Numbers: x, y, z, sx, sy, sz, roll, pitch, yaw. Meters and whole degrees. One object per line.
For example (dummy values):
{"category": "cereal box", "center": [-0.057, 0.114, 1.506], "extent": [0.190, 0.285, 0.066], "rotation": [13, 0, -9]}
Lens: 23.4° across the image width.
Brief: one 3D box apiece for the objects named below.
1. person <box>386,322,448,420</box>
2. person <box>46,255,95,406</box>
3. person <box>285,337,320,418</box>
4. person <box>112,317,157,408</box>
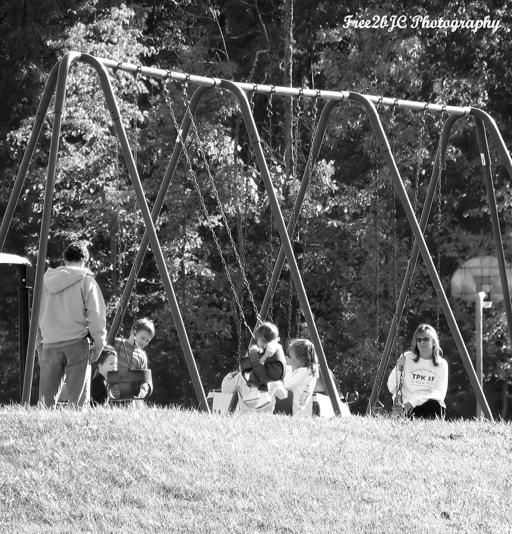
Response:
{"category": "person", "center": [1.590, 1.087, 11.997], "extent": [0.414, 1.106, 0.417], "rotation": [-1, -3, 26]}
{"category": "person", "center": [-1.677, 0.523, 10.978], "extent": [0.354, 1.604, 0.424], "rotation": [-2, 2, -34]}
{"category": "person", "center": [0.474, 1.033, 11.923], "extent": [0.246, 0.850, 0.288], "rotation": [1, -1, -4]}
{"category": "person", "center": [-1.177, 0.820, 11.988], "extent": [0.351, 1.076, 0.353], "rotation": [1, 1, -26]}
